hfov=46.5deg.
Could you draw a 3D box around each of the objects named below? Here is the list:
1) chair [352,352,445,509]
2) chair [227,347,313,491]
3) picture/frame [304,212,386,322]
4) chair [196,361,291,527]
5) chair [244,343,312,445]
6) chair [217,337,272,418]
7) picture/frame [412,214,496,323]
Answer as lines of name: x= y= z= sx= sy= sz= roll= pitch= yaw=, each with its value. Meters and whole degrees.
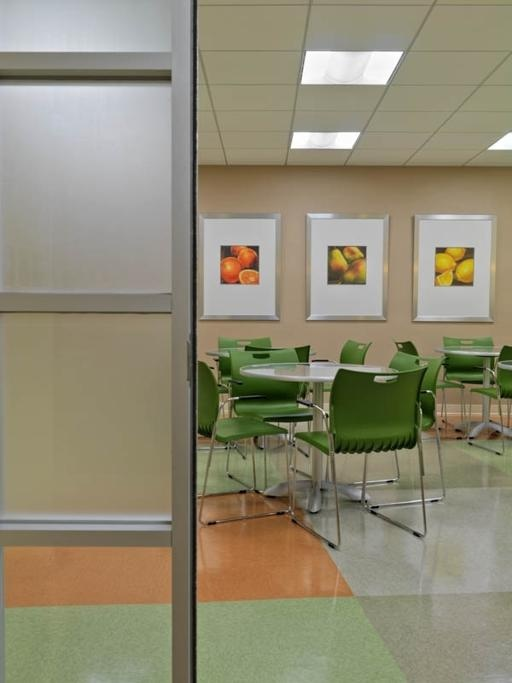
chair: x=0.838 y=0.515 z=3.343 sx=0.476 sy=0.795 sz=0.475 roll=-10 pitch=9 yaw=-36
chair: x=0.147 y=0.375 z=3.608 sx=0.560 sy=0.667 sz=0.585 roll=-1 pitch=-3 yaw=-37
picture/frame: x=0.931 y=-0.818 z=6.303 sx=1.138 sy=1.476 sz=0.054 roll=0 pitch=6 yaw=0
chair: x=-0.129 y=0.488 z=3.078 sx=0.530 sy=0.763 sz=0.521 roll=-1 pitch=-4 yaw=-10
chair: x=0.103 y=0.277 z=3.682 sx=0.450 sy=0.585 sz=0.477 roll=1 pitch=-3 yaw=-17
chair: x=-0.035 y=0.202 z=5.043 sx=0.442 sy=0.636 sz=0.427 roll=1 pitch=-2 yaw=-7
picture/frame: x=2.078 y=-0.819 z=6.325 sx=1.128 sy=1.470 sz=0.055 roll=0 pitch=4 yaw=1
